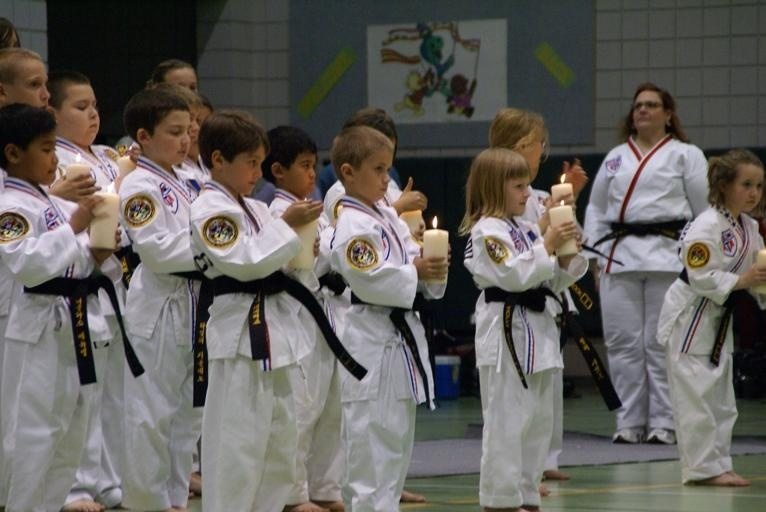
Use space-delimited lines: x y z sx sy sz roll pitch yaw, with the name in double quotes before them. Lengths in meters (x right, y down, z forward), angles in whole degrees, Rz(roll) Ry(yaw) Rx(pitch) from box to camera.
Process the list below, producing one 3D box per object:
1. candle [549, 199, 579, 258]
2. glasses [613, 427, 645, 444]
"candle" 1.009 -0.165 5.451 0.141 0.315 0.208 0 -3 16
"glasses" 1.963 1.441 7.774 0.310 0.126 0.103 8 -9 -36
